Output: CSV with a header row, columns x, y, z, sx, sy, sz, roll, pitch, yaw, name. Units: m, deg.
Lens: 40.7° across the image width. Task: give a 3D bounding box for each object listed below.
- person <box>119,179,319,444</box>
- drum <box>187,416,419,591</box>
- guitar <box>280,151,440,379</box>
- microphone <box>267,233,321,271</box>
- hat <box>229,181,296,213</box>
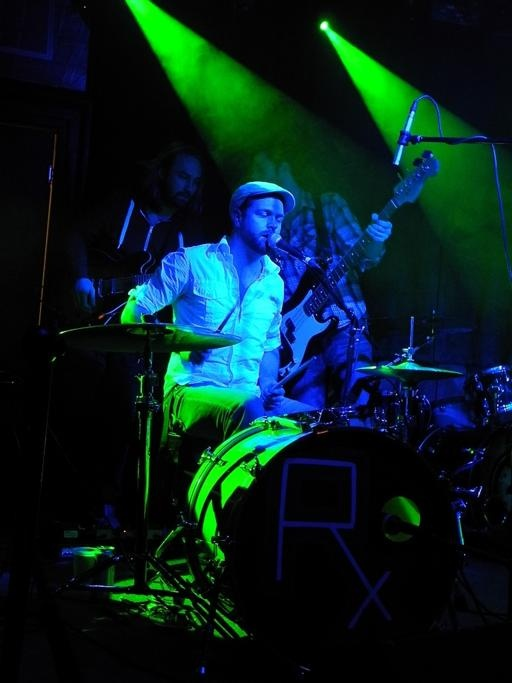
x,y,z,sx,sy,sz,roll,pitch,yaw,name
-0.223,-0.164,3.388,0.844,1.451,0.877,23,-32,-37,person
0.137,0.685,2.459,0.806,0.680,0.446,4,-8,-31,drum
0.569,-0.446,4.039,0.466,1.580,0.223,43,-14,-5,guitar
0.161,-0.400,3.121,0.116,0.108,0.398,31,0,-38,microphone
0.039,-0.814,3.849,0.281,0.143,0.216,-4,-6,-4,hat
